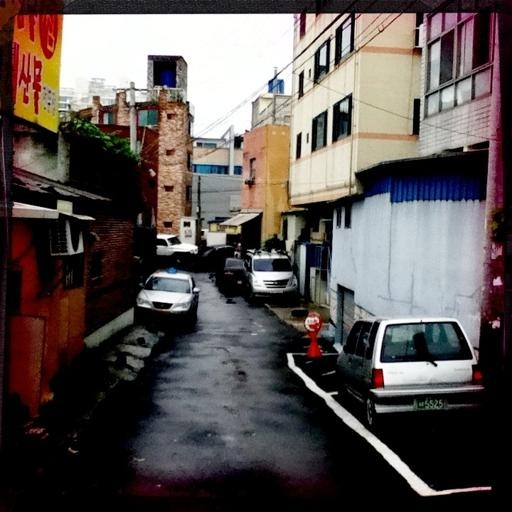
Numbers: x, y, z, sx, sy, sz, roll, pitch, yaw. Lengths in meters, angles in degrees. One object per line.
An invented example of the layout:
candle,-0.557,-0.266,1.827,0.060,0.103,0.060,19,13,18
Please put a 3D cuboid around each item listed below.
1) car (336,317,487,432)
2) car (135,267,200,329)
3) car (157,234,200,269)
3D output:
car,2.324,1.694,9.882,1.129,1.268,2.287,-1,5,-5
car,-2.823,1.393,19.554,1.860,1.536,2.413,1,3,2
car,-5.002,-0.258,38.989,2.565,1.597,1.617,0,9,2
